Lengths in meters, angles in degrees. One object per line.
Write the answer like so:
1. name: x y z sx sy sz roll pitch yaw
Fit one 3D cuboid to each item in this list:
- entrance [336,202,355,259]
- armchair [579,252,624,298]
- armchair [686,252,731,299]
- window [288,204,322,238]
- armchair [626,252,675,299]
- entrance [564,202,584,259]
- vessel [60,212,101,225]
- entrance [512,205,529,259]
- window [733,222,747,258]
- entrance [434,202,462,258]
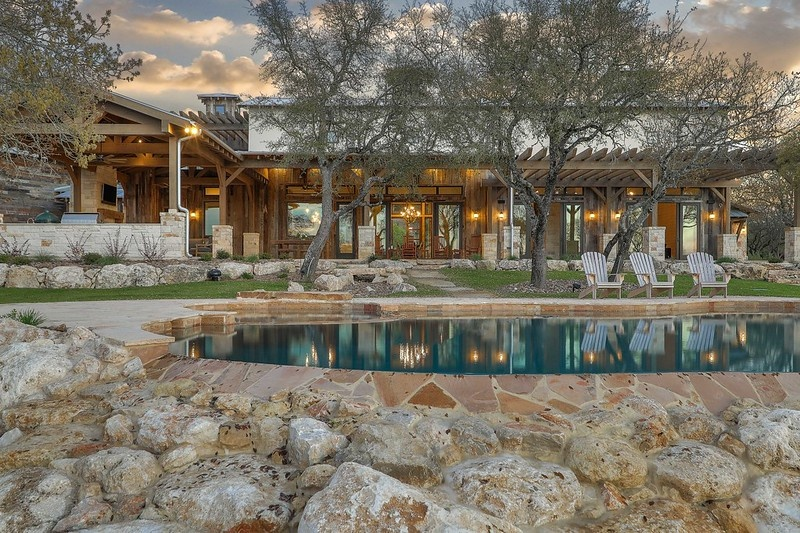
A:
1. entrance: -2.502 -1.605 28.445 1.045 2.734 0.235 3 -21 -12
2. armchair: 5.642 0.248 17.253 0.931 1.267 1.291 -1 3 -10
3. armchair: 9.053 0.255 17.871 1.197 1.623 1.665 0 3 3
4. window: -4.328 -2.055 27.839 1.850 1.930 0.205 0 -2 -5
5. armchair: 7.277 0.243 17.653 0.850 1.171 1.159 -6 7 -9
6. entrance: 8.169 -1.622 28.835 0.918 3.171 0.158 0 -23 16
7. vessel: -11.314 -1.693 21.832 1.181 0.552 1.391 2 -2 -27
8. entrance: 6.012 -1.747 29.723 0.242 2.823 1.065 -7 8 17
9. window: 15.955 -1.324 28.824 0.568 2.163 4.187 0 -2 28
10. entrance: 2.306 -1.626 28.699 1.376 3.424 0.157 -1 33 1
